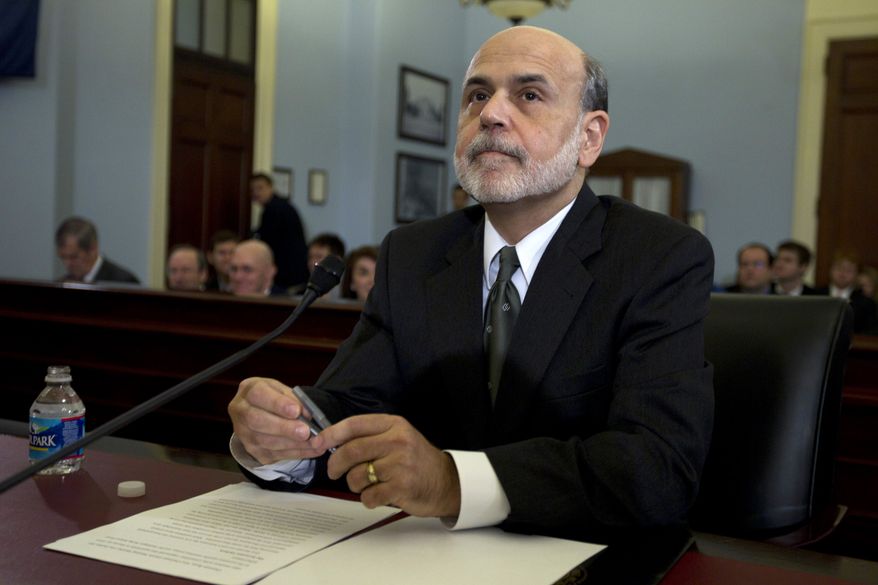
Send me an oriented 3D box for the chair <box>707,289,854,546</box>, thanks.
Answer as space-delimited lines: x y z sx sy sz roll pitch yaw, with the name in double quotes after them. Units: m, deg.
0.726 0.266 1.749 0.471 0.587 0.451 -1 -3 35 "chair"
